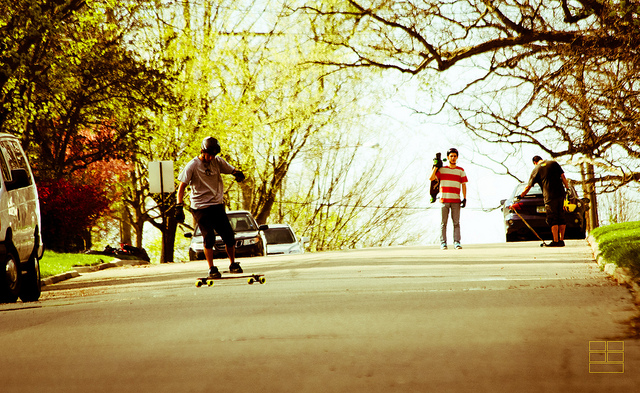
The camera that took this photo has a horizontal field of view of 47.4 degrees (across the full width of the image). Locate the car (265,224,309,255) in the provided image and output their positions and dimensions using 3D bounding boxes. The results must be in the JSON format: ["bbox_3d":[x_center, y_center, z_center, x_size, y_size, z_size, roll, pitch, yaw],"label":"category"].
[{"bbox_3d":[-1.319,1.558,27.370,1.422,0.954,2.584,-3,4,-5],"label":"car"}]

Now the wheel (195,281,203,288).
[{"bbox_3d":[-2.317,1.701,14.046,0.141,0.140,0.037,-6,17,-12],"label":"wheel"}]

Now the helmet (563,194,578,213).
[{"bbox_3d":[6.308,0.174,18.544,0.372,0.521,0.529,1,3,27],"label":"helmet"}]

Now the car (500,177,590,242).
[{"bbox_3d":[6.852,0.543,22.618,2.511,2.189,4.467,-1,4,17],"label":"car"}]

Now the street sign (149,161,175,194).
[{"bbox_3d":[-5.953,-0.765,27.559,1.220,1.396,0.141,-1,-8,0],"label":"street sign"}]

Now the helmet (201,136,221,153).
[{"bbox_3d":[-2.156,-1.045,14.511,0.326,0.286,0.630,-3,4,-6],"label":"helmet"}]

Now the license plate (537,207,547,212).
[{"bbox_3d":[6.644,0.370,21.930,0.203,0.117,0.027,0,-3,5],"label":"license plate"}]

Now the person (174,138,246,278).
[{"bbox_3d":[-2.166,0.211,14.438,1.245,2.742,0.565,-3,4,-11],"label":"person"}]

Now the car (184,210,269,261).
[{"bbox_3d":[-2.684,1.182,23.967,1.612,1.233,2.729,-2,-6,-2],"label":"car"}]
